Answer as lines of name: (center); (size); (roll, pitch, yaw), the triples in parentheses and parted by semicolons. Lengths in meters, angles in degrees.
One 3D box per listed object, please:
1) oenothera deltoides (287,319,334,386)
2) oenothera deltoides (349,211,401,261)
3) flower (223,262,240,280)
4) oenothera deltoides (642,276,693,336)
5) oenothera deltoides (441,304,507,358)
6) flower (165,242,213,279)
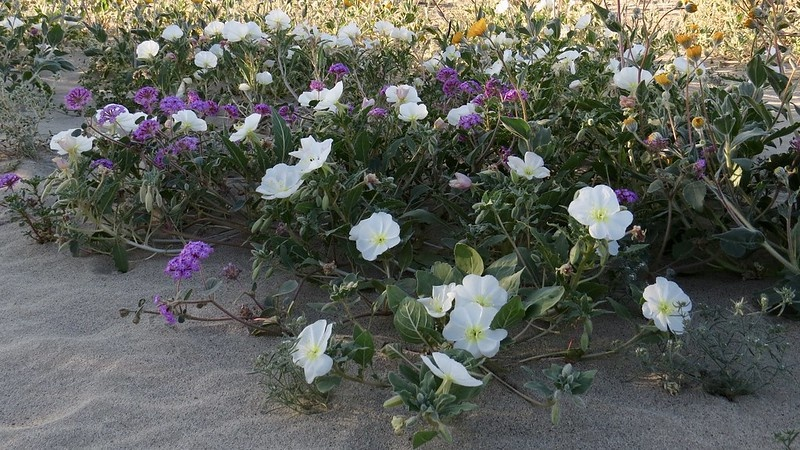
oenothera deltoides: (-0.500, 0.734, 3.235); (0.224, 0.332, 0.252); (0, 38, -11)
oenothera deltoides: (-0.147, 0.073, 3.639); (0.276, 0.293, 0.139); (47, 6, 5)
flower: (-1.172, 0.328, 3.983); (0.090, 0.087, 0.082); (14, 27, -32)
oenothera deltoides: (1.551, 0.468, 3.323); (0.304, 0.113, 0.321); (-44, 101, -14)
oenothera deltoides: (0.419, 0.580, 3.209); (0.345, 0.240, 0.234); (9, 38, 0)
flower: (-1.380, 0.214, 3.757); (0.269, 0.184, 0.312); (-15, 3, 27)
